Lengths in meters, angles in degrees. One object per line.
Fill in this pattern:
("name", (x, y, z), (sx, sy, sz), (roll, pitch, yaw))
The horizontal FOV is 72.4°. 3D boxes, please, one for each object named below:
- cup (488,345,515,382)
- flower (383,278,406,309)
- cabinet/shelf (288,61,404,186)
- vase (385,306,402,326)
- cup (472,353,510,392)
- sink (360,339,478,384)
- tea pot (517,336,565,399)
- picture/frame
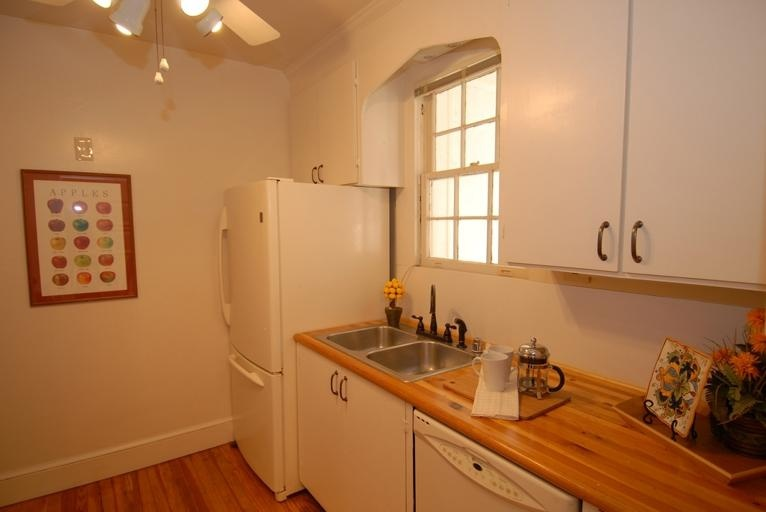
("cup", (0.615, 0.544, 2.730), (0.161, 0.150, 0.106), (-1, 1, -16))
("flower", (0.102, 0.257, 3.583), (0.168, 0.222, 0.176), (3, 5, 28))
("cabinet/shelf", (-0.303, -0.901, 3.771), (0.892, 0.832, 0.342), (4, 7, 41))
("vase", (0.072, 0.399, 3.561), (0.115, 0.141, 0.129), (0, 3, 4))
("cup", (0.552, 0.578, 2.690), (0.130, 0.151, 0.201), (-2, -4, -6))
("sink", (0.185, 0.621, 3.166), (0.321, 0.140, 0.320), (-4, 5, -31))
("tea pot", (0.754, 0.550, 2.696), (0.194, 0.323, 0.308), (-5, 9, -22))
("picture/frame", (-2.137, -0.138, 3.624), (0.857, 1.264, 0.065), (-5, 9, -33))
